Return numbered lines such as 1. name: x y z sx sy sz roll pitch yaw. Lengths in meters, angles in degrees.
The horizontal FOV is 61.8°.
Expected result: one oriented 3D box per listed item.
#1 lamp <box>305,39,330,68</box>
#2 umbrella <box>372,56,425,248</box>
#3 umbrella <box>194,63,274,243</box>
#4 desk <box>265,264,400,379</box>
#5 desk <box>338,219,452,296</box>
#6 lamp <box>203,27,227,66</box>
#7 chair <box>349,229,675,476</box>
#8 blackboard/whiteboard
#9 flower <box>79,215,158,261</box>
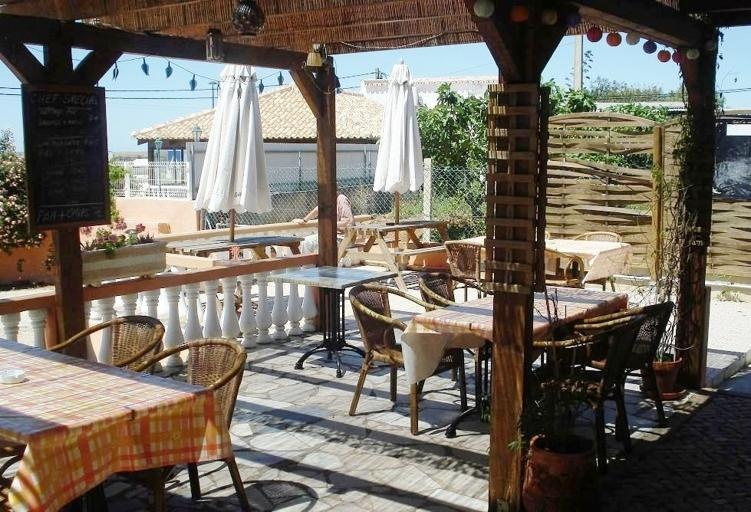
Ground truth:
1. lamp: -0.720 -2.469 7.717 0.271 0.319 0.785 -2 11 -4
2. umbrella: 0.398 -2.212 10.968 0.829 2.210 0.460 -1 11 0
3. umbrella: -1.872 -1.517 8.271 0.879 1.923 0.432 -4 12 -14
4. desk: -0.482 0.783 7.271 1.333 0.928 1.289 1 -1 7
5. desk: 0.392 -0.093 12.395 1.865 0.919 2.107 -3 2 40
6. lamp: -1.741 -2.273 6.812 0.182 0.317 0.519 -4 12 -16
7. chair: 1.186 0.700 5.578 2.046 0.945 1.844 7 11 43
8. blackboard/whiteboard: -2.849 -0.908 5.811 0.734 1.274 0.302 -7 13 -28
9. flower: -2.659 -0.113 6.666 0.614 0.240 0.594 -7 -20 -41
